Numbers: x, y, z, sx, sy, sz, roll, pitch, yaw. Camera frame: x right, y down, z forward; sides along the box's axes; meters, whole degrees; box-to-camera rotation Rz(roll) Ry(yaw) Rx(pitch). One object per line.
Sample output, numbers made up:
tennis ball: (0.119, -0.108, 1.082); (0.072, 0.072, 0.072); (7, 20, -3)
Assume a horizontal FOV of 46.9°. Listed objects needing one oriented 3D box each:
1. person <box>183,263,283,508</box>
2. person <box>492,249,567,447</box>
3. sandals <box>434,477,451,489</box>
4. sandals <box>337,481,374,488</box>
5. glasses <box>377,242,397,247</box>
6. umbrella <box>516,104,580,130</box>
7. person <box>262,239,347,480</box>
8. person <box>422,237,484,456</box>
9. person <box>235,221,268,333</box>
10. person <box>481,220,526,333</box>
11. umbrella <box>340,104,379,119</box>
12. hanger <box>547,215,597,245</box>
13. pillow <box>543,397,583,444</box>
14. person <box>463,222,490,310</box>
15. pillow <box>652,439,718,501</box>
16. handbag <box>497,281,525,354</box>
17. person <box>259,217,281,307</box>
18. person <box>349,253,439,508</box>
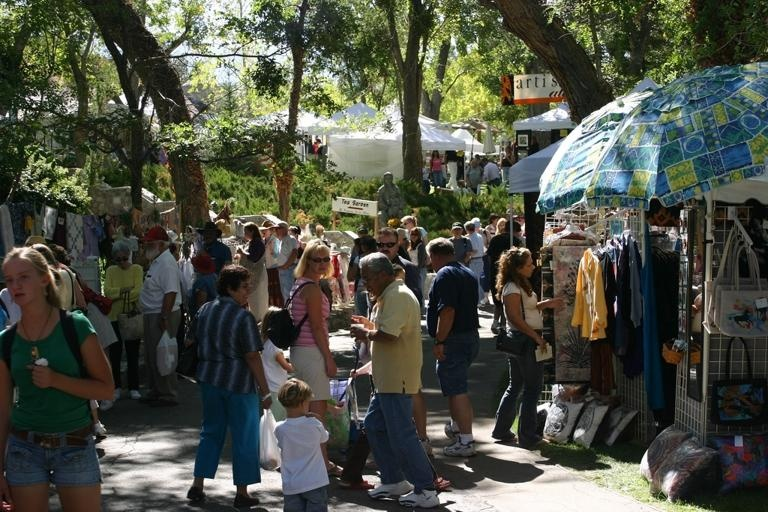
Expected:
person: (-1.748, 1.409, 9.864); (0.928, 2.558, 0.570); (-1, 7, -7)
person: (1.814, 1.184, 11.644); (0.819, 2.429, 0.925); (0, -1, -15)
sandals: (0.680, 2.622, 10.249); (0.095, 0.083, 0.176); (5, 6, 44)
sandals: (-0.327, 2.643, 10.263); (0.351, 0.117, 0.136); (2, -14, -2)
glasses: (0.047, -0.176, 13.341); (0.263, 0.080, 0.172); (0, 7, 0)
umbrella: (3.676, -3.024, 19.839); (1.060, 0.541, 1.127); (-1, 7, 1)
person: (-0.943, 1.149, 10.711); (0.830, 2.640, 0.729); (8, 12, 38)
person: (0.880, 1.159, 11.064); (0.877, 2.552, 0.811); (1, -1, 25)
person: (-2.701, 0.345, 18.123); (0.632, 2.043, 0.770); (-2, 5, -25)
person: (2.604, 0.031, 18.352); (1.048, 3.053, 1.179); (1, 0, -5)
umbrella: (-1.137, -6.229, 38.085); (1.083, 0.513, 1.129); (0, 1, -2)
hanger: (2.587, -0.358, 12.278); (0.603, 0.318, 0.366); (-4, 3, -13)
pillow: (2.417, 2.187, 11.806); (0.199, 0.588, 0.486); (29, -10, -22)
person: (2.161, 0.167, 21.754); (0.607, 2.104, 0.668); (-2, 4, 27)
pillow: (3.457, 2.408, 10.043); (0.677, 0.522, 0.376); (-3, 8, -22)
handbag: (1.636, 1.101, 11.368); (0.466, 0.353, 0.173); (6, 9, 37)
person: (-2.678, 0.274, 20.333); (0.633, 2.077, 0.593); (-9, 11, -39)
person: (0.148, 1.359, 9.979); (1.158, 2.751, 0.544); (6, 10, 41)
